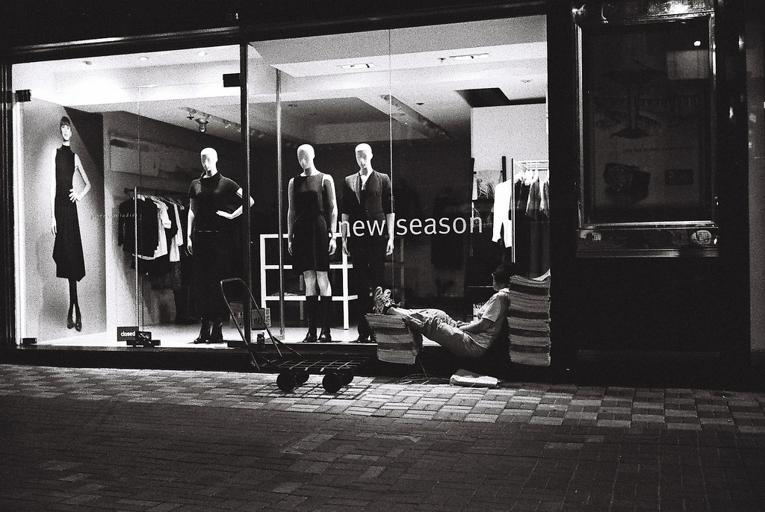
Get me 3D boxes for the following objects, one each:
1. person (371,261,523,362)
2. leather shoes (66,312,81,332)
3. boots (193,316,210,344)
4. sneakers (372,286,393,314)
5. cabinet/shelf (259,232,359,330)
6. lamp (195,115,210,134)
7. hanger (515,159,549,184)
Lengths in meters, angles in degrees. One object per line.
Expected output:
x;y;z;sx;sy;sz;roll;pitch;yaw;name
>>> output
0.752;0.677;8.584;1.677;1.103;0.702;1;-1;22;person
-4.412;0.962;10.137;0.227;0.199;0.099;-4;-1;24;leather shoes
-2.398;0.995;9.433;0.154;0.296;0.182;-4;-1;31;boots
0.009;0.552;8.570;0.274;0.396;0.242;-3;3;5;sneakers
-0.900;0.316;9.164;1.223;1.171;0.404;-1;-5;6;cabinet/shelf
-2.430;-1.759;9.553;0.207;0.207;0.051;2;3;12;lamp
1.793;-0.992;8.400;0.469;0.301;0.129;2;3;17;hanger
